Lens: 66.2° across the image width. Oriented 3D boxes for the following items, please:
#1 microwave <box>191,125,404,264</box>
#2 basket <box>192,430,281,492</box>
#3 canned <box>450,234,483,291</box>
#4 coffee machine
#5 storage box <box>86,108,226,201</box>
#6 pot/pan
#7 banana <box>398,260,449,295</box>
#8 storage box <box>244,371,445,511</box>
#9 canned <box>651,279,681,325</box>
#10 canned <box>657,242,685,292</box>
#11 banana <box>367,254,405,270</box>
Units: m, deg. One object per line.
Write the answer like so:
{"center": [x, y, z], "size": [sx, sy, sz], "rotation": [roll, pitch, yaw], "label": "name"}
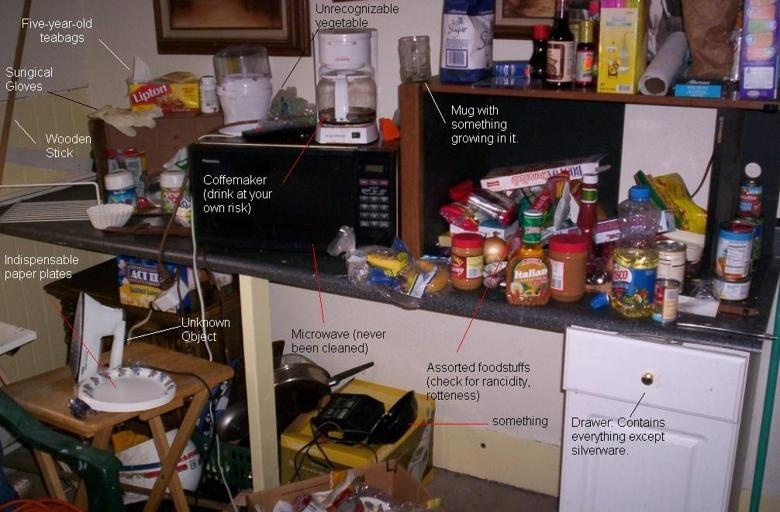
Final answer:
{"center": [-0.352, -0.210, 2.027], "size": [0.680, 0.366, 0.415], "rotation": [5, 20, 12], "label": "microwave"}
{"center": [-0.633, 0.848, 2.476], "size": [0.299, 0.179, 0.206], "rotation": [6, 12, 25], "label": "basket"}
{"center": [0.246, 0.016, 1.883], "size": [0.103, 0.170, 0.077], "rotation": [1, 15, 4], "label": "canned"}
{"center": [-0.159, -0.614, 2.132], "size": [0.231, 0.393, 0.427], "rotation": [-1, 15, -3], "label": "coffee machine"}
{"center": [-0.953, -0.491, 2.564], "size": [0.628, 0.411, 0.360], "rotation": [-2, 14, 2], "label": "storage box"}
{"center": [-0.314, 0.535, 2.614], "size": [0.357, 0.231, 0.128], "rotation": [-8, 39, -3], "label": "pot/pan"}
{"center": [0.115, 0.062, 1.887], "size": [0.119, 0.045, 0.113], "rotation": [-5, 40, 2], "label": "banana"}
{"center": [-0.145, 0.590, 2.366], "size": [0.417, 0.314, 0.634], "rotation": [14, 27, 32], "label": "storage box"}
{"center": [0.793, 0.127, 1.704], "size": [0.077, 0.118, 0.058], "rotation": [2, 15, 9], "label": "canned"}
{"center": [0.819, 0.031, 1.800], "size": [0.118, 0.130, 0.119], "rotation": [2, 15, 21], "label": "canned"}
{"center": [-0.014, 0.021, 1.917], "size": [0.097, 0.029, 0.051], "rotation": [13, 25, 13], "label": "banana"}
